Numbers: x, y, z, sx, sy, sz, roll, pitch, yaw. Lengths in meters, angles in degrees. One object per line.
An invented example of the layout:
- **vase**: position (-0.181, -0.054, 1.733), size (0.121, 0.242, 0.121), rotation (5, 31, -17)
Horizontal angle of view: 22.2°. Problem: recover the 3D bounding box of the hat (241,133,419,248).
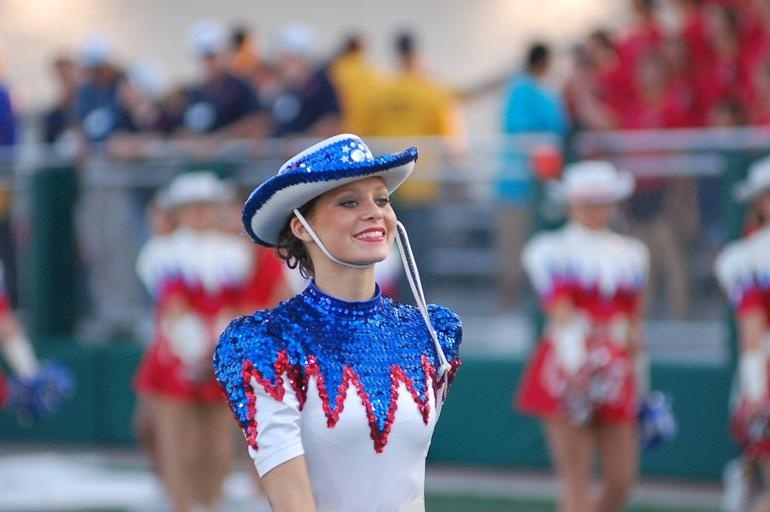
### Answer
- **hat**: position (-0.334, -0.275, 8.960), size (0.548, 0.180, 0.553), rotation (-16, -20, -48)
